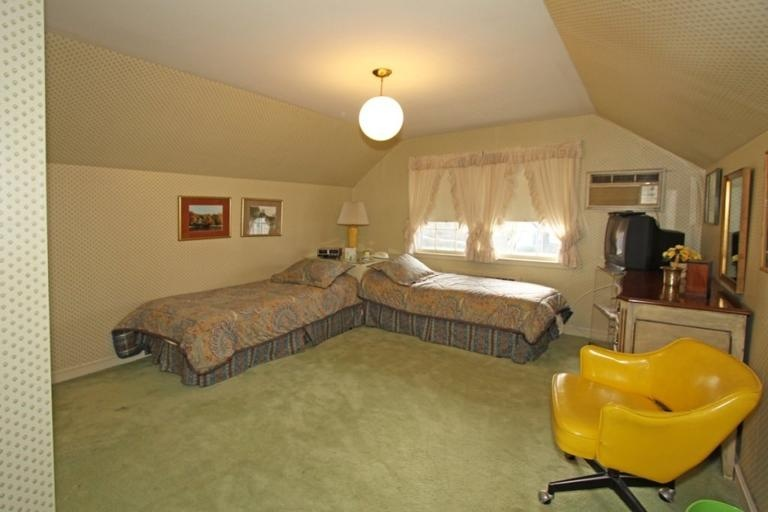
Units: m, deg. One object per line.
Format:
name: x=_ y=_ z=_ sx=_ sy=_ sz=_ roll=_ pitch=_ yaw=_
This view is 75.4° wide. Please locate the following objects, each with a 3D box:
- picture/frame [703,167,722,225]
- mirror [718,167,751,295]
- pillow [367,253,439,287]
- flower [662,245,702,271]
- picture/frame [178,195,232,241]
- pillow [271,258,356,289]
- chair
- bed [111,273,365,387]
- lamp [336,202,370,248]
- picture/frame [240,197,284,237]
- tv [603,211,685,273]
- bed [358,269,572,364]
picture/frame: x=3.159 y=-0.562 z=4.767 sx=0.104 sy=0.470 sz=0.640 roll=2 pitch=4 yaw=21
mirror: x=2.836 y=-0.179 z=4.006 sx=0.048 sy=1.172 sz=1.022 roll=0 pitch=5 yaw=26
pillow: x=0.317 y=0.168 z=6.207 sx=0.458 sy=0.147 sz=0.511 roll=26 pitch=20 yaw=33
flower: x=2.579 y=0.001 z=4.293 sx=0.311 sy=0.255 sz=0.310 roll=2 pitch=0 yaw=-5
picture/frame: x=-2.083 y=-0.438 z=5.721 sx=0.054 sy=0.462 sz=0.560 roll=1 pitch=2 yaw=35
pillow: x=-0.867 y=0.205 z=5.990 sx=0.517 sy=0.138 sz=0.523 roll=3 pitch=20 yaw=30
chair: x=1.834 y=1.098 z=3.741 sx=1.357 sy=1.260 sz=1.169 roll=0 pitch=12 yaw=10
bed: x=-1.353 y=0.698 z=5.292 sx=0.999 sy=0.506 sz=1.673 roll=6 pitch=9 yaw=41
lamp: x=-0.438 y=-0.463 z=7.057 sx=0.375 sy=0.648 sz=0.906 roll=-1 pitch=4 yaw=-4
picture/frame: x=-1.557 y=-0.496 z=6.421 sx=0.035 sy=0.482 sz=0.687 roll=3 pitch=5 yaw=33
tv: x=2.748 y=-0.185 z=5.255 sx=0.697 sy=0.662 sz=0.654 roll=-5 pitch=1 yaw=-15
bed: x=0.961 y=0.600 z=5.728 sx=1.697 sy=0.522 sz=1.057 roll=4 pitch=10 yaw=31
